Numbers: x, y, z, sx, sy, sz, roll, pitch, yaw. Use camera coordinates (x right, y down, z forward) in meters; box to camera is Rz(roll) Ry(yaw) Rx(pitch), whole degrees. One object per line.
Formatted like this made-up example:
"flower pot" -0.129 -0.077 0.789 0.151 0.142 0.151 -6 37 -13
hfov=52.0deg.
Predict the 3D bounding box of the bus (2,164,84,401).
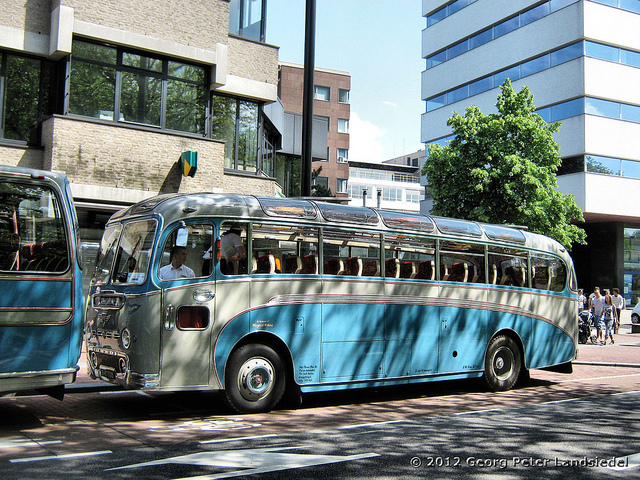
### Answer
"bus" -4.392 0.598 10.344 1.252 3.527 0.751 3 0 -28

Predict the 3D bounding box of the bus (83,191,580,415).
"bus" 1.000 1.156 14.254 10.099 3.961 2.914 3 2 -24

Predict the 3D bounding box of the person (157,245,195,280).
"person" -2.465 0.407 11.211 0.733 0.604 0.336 5 -6 -34

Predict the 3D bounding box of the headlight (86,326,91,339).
"headlight" -4.209 1.689 11.923 0.111 0.214 0.049 3 -7 31
